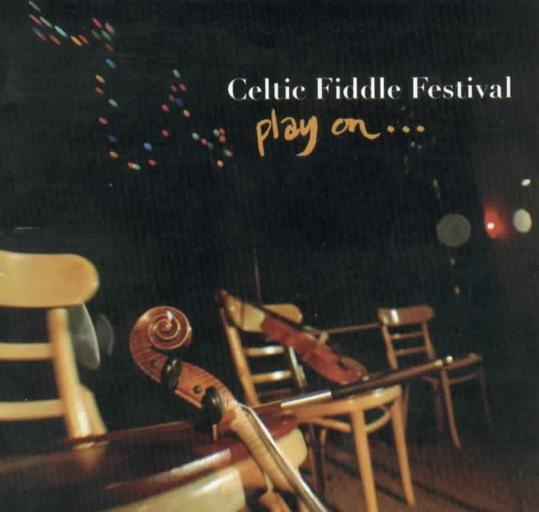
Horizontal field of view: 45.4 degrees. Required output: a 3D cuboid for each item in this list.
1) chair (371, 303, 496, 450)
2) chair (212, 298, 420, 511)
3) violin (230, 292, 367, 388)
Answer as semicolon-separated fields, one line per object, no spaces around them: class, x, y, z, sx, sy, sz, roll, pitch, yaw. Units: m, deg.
chair;0.705;0.448;2.785;0.366;0.641;0.379;-3;-2;-44
chair;0.178;0.513;2.899;0.603;1.019;0.647;3;-3;-12
violin;0.095;0.353;2.676;0.705;0.149;0.292;26;14;8
